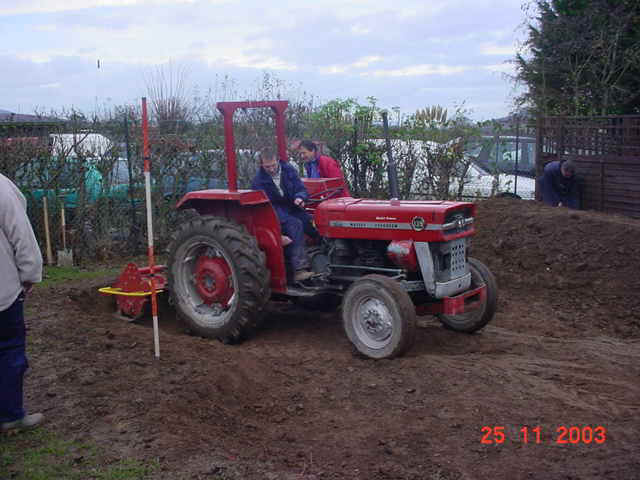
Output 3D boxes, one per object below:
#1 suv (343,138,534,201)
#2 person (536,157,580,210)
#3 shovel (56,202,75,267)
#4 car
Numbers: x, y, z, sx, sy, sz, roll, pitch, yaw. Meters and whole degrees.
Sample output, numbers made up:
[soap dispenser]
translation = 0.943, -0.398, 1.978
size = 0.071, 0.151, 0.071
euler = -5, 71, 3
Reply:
[suv]
translation = 3.164, -1.712, 14.141
size = 3.554, 1.265, 2.479
euler = -1, 3, -3
[person]
translation = 5.162, -1.192, 12.389
size = 1.068, 1.006, 0.644
euler = -12, 18, -40
[shovel]
translation = -4.490, -0.080, 10.087
size = 0.228, 1.089, 0.078
euler = -4, 5, -4
[car]
translation = -4.419, -0.981, 10.568
size = 1.652, 0.843, 0.972
euler = 5, 9, -8
